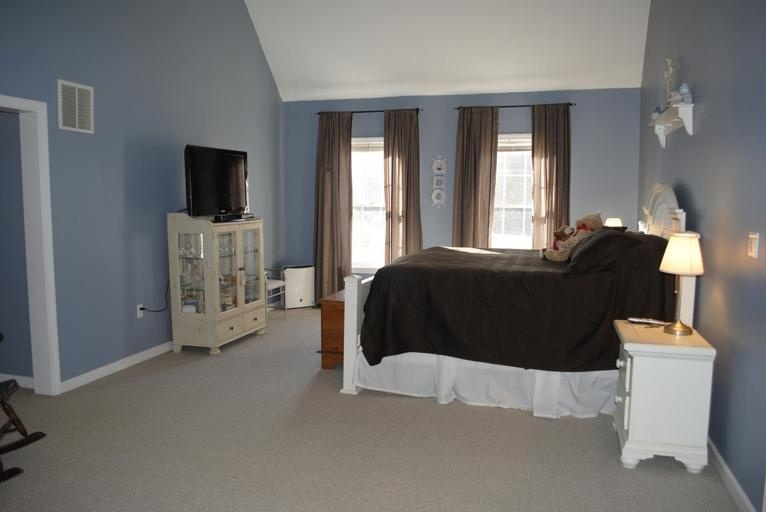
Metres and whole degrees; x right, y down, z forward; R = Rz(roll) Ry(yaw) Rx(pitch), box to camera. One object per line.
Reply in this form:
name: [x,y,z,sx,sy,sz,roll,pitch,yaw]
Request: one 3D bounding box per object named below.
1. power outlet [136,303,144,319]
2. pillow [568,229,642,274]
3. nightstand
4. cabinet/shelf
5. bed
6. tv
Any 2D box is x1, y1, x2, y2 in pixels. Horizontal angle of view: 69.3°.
power outlet: [-2.536,0.577,5.745,0.049,0.163,0.157,1,2,11]
pillow: [1.942,-0.039,4.859,0.558,0.336,0.404,1,7,26]
nightstand: [2.337,0.839,4.478,0.783,1.251,1.254,3,7,18]
cabinet/shelf: [-1.870,0.328,6.082,0.768,2.016,1.431,0,4,11]
bed: [1.315,0.270,5.401,2.389,1.766,1.824,0,6,11]
tv: [-1.868,-0.777,6.088,0.117,0.791,0.887,3,4,25]
